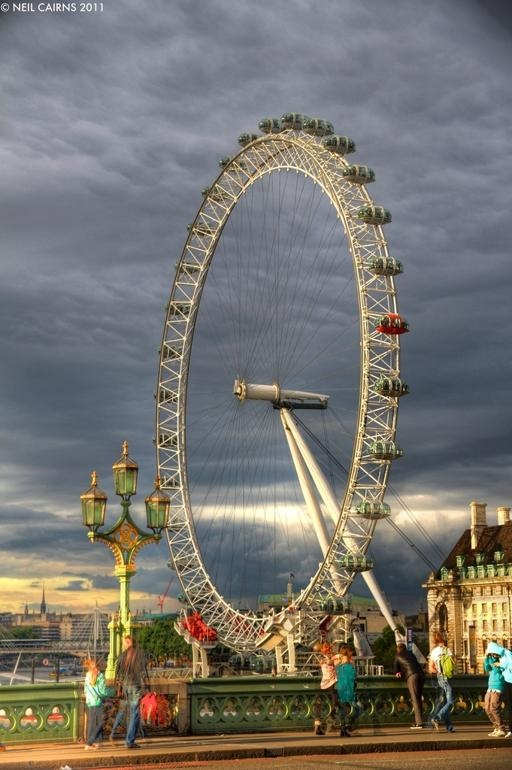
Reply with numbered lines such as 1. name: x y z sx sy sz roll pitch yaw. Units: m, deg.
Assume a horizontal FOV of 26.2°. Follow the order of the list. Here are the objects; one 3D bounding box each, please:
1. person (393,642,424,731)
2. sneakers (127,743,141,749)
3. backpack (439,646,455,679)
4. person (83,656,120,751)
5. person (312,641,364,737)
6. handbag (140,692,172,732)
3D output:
1. person: 3.056 5.945 21.674 0.553 1.669 0.755 -2 -19 6
2. sneakers: -2.058 6.109 18.528 0.206 0.073 0.064 -1 -13 -5
3. backpack: 3.809 5.588 21.887 0.267 0.581 0.399 -3 -19 8
4. person: -2.740 5.541 19.093 0.485 1.515 0.934 2 -19 -7
5. person: 1.558 5.825 21.129 0.882 1.782 1.446 -1 -19 3
6. handbag: -1.861 5.948 20.180 0.419 0.816 1.183 1 -21 -23
